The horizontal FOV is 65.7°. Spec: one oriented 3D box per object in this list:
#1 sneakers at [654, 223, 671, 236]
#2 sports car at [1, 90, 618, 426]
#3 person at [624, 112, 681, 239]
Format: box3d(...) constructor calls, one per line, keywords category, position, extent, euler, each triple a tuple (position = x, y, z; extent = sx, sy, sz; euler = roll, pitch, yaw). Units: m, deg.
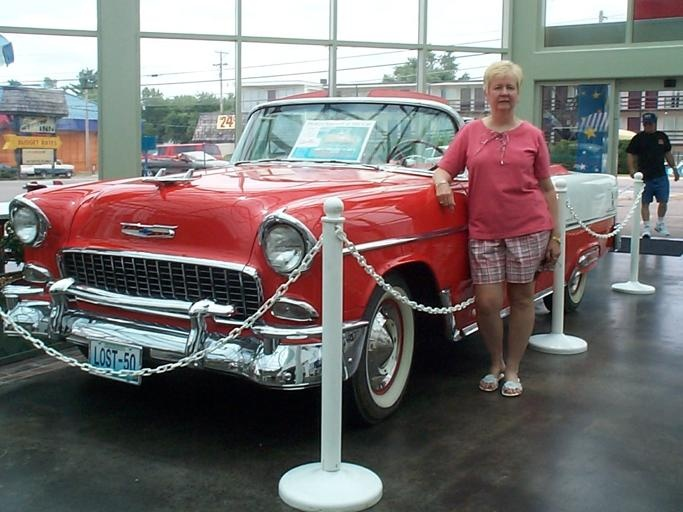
box3d(category="sneakers", position=(6.698, -0.538, 10.953), extent=(0.184, 0.211, 0.507), euler=(-14, 14, -15))
box3d(category="sports car", position=(0.316, -0.079, 4.136), extent=(2.276, 1.196, 3.970), euler=(2, 1, 40))
box3d(category="person", position=(6.218, -1.614, 10.718), extent=(1.086, 2.484, 0.596), euler=(-3, 11, -17))
